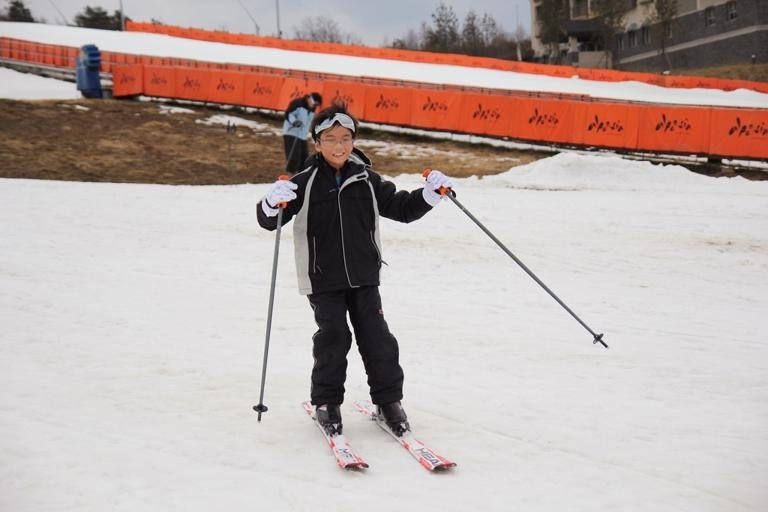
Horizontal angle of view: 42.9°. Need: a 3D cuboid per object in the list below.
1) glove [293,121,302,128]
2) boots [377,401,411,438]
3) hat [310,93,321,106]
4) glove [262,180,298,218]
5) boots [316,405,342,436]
[{"bbox_3d":[-1.378,-2.060,15.541,0.138,0.113,0.099,18,-15,1],"label":"glove"},{"bbox_3d":[0.104,1.735,10.424,0.207,0.211,0.547,-8,12,-32],"label":"boots"},{"bbox_3d":[-1.031,-2.390,15.058,0.144,0.146,0.162,-2,33,-20],"label":"hat"},{"bbox_3d":[-1.125,-0.606,10.455,0.402,0.393,0.176,-2,17,-6],"label":"glove"},{"bbox_3d":[-0.581,1.737,10.354,0.231,0.118,0.331,3,38,-16],"label":"boots"}]
